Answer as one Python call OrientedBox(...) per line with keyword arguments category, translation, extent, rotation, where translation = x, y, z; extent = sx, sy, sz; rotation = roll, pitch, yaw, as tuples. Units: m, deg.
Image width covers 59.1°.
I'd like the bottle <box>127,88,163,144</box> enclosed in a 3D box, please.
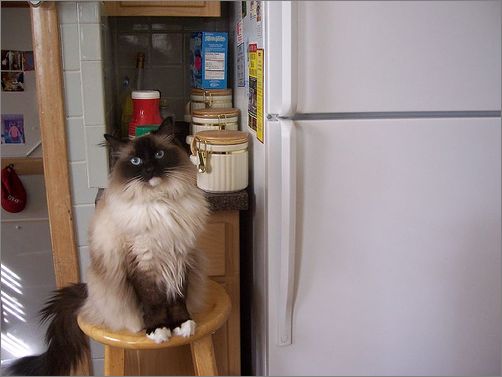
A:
OrientedBox(category="bottle", translation=(-0.408, -0.284, 1.767), extent=(0.159, 0.249, 0.166), rotation=(2, 11, 0))
